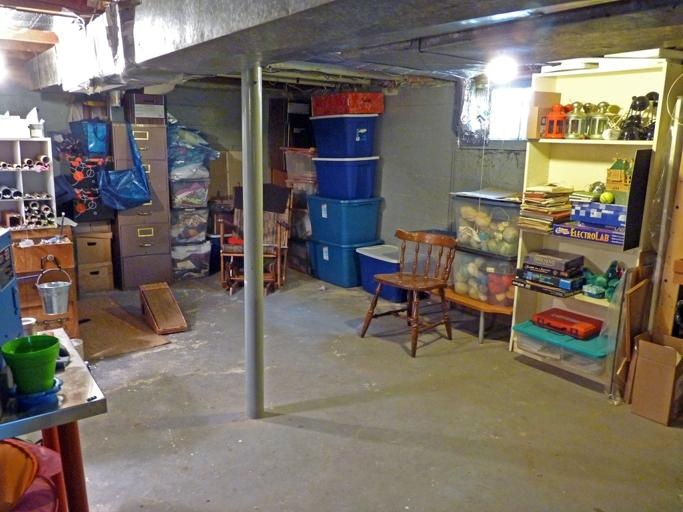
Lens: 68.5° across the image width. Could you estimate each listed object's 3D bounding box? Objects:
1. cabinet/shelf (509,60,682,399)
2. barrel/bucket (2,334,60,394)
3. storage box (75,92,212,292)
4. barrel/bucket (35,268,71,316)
[{"bbox_3d":[1.997,-0.247,4.110,0.719,2.531,1.190,-8,18,-26],"label":"cabinet/shelf"},{"bbox_3d":[-1.180,0.400,1.967,0.236,0.187,0.230,0,2,0],"label":"barrel/bucket"},{"bbox_3d":[-2.303,-0.838,6.417,1.300,2.387,0.414,-12,20,-37],"label":"storage box"},{"bbox_3d":[-2.434,0.327,4.259,0.225,0.500,0.540,-9,18,-31],"label":"barrel/bucket"}]
